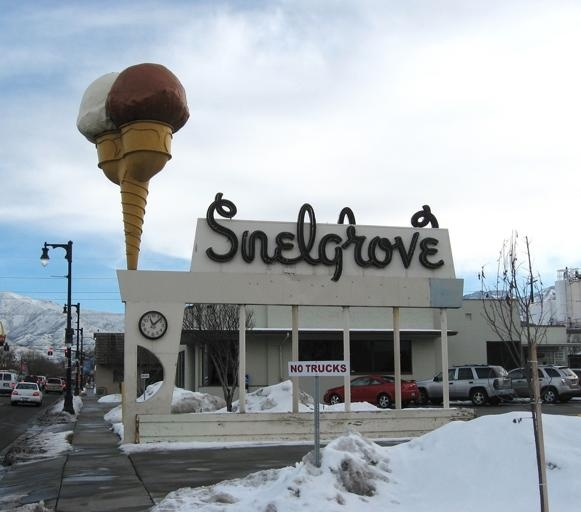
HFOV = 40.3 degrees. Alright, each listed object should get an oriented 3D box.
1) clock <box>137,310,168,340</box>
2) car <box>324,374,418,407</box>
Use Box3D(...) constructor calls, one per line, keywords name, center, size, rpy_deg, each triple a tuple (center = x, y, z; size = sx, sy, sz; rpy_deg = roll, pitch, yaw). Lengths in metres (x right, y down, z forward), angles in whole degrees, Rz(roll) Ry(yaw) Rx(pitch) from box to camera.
Box3D(name="clock", center=(-3.596, 1.746, 20.312), size=(0.552, 0.731, 0.083), rpy_deg=(0, -8, -9))
Box3D(name="car", center=(3.327, 5.680, 31.293), size=(3.199, 1.391, 1.622), rpy_deg=(0, -6, 29))
